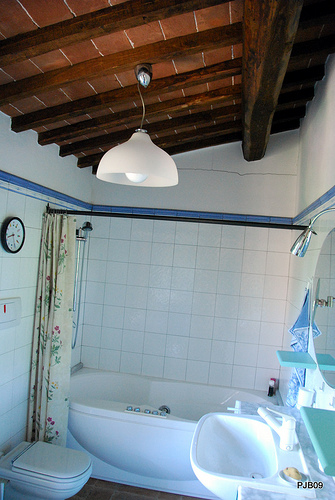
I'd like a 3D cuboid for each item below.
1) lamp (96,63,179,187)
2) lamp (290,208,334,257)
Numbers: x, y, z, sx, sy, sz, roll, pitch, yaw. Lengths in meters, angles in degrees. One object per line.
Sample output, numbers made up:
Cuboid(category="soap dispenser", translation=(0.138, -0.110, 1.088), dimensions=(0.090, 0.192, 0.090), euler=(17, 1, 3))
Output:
Cuboid(category="lamp", translation=(-0.087, -0.476, 1.289), dimensions=(0.244, 0.391, 0.261), euler=(4, 20, 1))
Cuboid(category="lamp", translation=(0.622, -0.067, 1.542), dimensions=(0.113, 0.175, 0.583), euler=(4, -4, 16))
